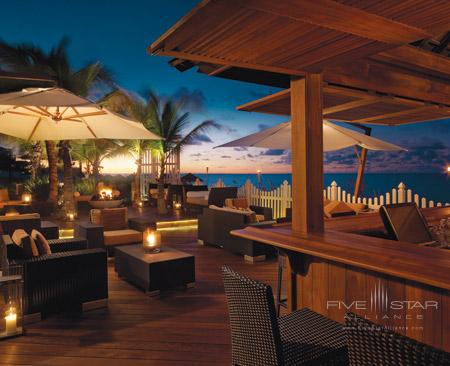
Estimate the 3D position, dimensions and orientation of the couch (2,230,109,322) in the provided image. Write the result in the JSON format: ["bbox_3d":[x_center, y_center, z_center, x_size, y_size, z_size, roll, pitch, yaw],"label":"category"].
[{"bbox_3d":[-1.975,1.055,4.540,1.181,0.782,1.094,-2,2,-40],"label":"couch"}]

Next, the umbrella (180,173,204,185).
[{"bbox_3d":[-1.376,-0.146,14.905,0.780,0.284,0.659,-1,3,-12],"label":"umbrella"}]

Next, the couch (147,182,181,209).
[{"bbox_3d":[-2.065,0.481,13.449,1.062,0.929,1.855,2,-3,-42],"label":"couch"}]

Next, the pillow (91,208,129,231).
[{"bbox_3d":[-2.082,0.655,6.483,0.748,0.394,0.272,-2,12,-44],"label":"pillow"}]

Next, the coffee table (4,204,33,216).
[{"bbox_3d":[-5.019,0.631,8.704,0.781,0.284,0.452,-3,-6,-25],"label":"coffee table"}]

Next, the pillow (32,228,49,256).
[{"bbox_3d":[-2.339,0.744,4.536,0.168,0.224,0.417,0,7,-31],"label":"pillow"}]

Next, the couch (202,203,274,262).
[{"bbox_3d":[0.123,0.913,6.787,0.424,0.824,1.761,-5,8,-34],"label":"couch"}]

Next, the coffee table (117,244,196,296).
[{"bbox_3d":[-0.993,1.195,5.106,0.698,0.494,0.991,-5,8,-38],"label":"coffee table"}]

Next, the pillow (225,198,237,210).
[{"bbox_3d":[0.118,0.499,8.427,0.257,0.207,0.200,1,3,-1],"label":"pillow"}]

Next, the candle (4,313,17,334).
[{"bbox_3d":[-2.205,1.438,3.715,0.112,0.199,0.147,-4,8,-28],"label":"candle"}]

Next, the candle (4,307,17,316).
[{"bbox_3d":[-2.207,1.329,3.708,0.104,0.027,0.095,-4,-5,37],"label":"candle"}]
